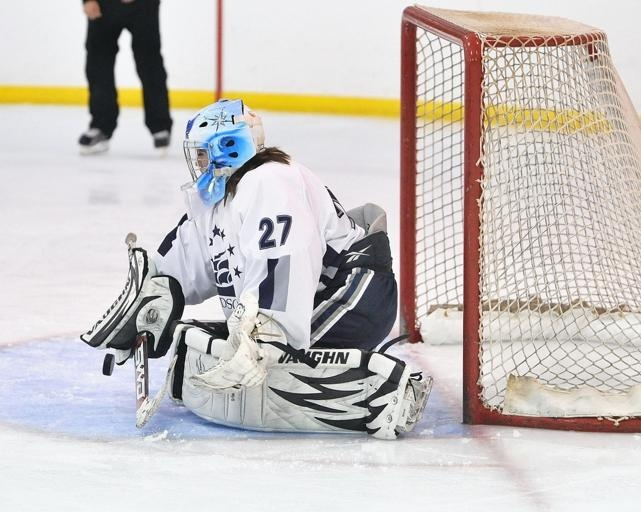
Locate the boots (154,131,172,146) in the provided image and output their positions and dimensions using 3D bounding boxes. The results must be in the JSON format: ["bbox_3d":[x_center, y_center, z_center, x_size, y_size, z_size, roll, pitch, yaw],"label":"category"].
[{"bbox_3d":[-1.097,-0.808,6.608,0.139,0.127,0.102,1,-5,-6],"label":"boots"}]

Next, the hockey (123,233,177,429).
[{"bbox_3d":[-0.382,0.222,2.136,0.053,0.061,0.336,-12,47,21],"label":"hockey"}]

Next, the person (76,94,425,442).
[{"bbox_3d":[-0.158,0.012,2.127,0.799,0.704,0.530,-1,14,-4],"label":"person"}]
